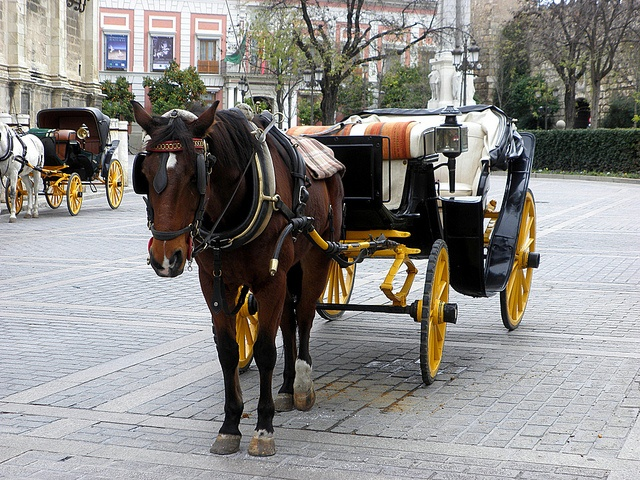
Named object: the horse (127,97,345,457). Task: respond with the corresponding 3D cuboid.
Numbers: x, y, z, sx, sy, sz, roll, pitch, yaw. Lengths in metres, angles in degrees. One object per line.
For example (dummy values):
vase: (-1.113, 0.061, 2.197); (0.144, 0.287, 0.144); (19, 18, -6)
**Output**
horse: (-0.637, 0.265, 7.361); (0.929, 2.799, 2.066); (6, 12, 26)
